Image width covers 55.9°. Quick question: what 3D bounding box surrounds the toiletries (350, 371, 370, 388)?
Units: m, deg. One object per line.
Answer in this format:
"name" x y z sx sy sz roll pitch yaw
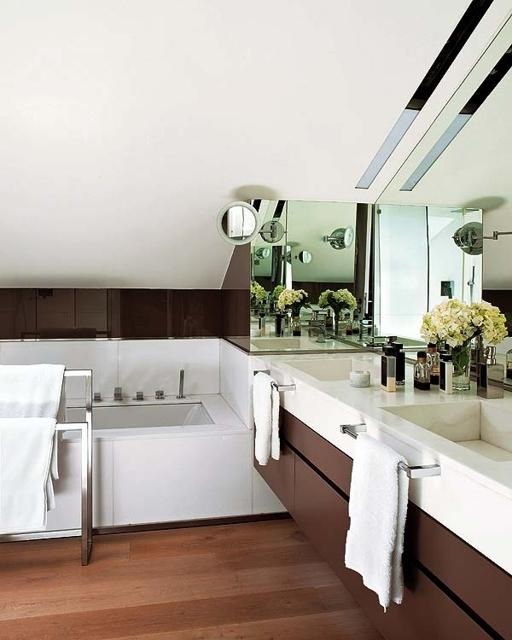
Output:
"toiletries" 0.387 0.213 1.775 0.053 0.047 0.059 0 -1 4

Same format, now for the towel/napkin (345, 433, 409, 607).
"towel/napkin" 0.296 0.479 1.186 0.096 0.358 0.271 0 0 -4

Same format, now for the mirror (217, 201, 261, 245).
"mirror" -0.091 -0.510 2.575 0.222 0.204 0.124 -1 1 -17

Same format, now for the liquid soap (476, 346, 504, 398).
"liquid soap" 0.756 0.171 1.595 0.073 0.153 0.165 0 0 3

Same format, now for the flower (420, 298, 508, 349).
"flower" 0.722 0.009 1.695 0.286 0.160 0.106 0 0 31

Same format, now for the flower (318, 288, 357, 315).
"flower" 0.475 -0.112 2.778 0.132 0.117 0.154 2 2 -8

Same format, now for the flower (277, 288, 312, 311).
"flower" 0.209 -0.118 2.794 0.122 0.153 0.128 0 6 15

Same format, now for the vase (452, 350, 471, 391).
"vase" 0.721 0.170 1.687 0.072 0.145 0.067 0 1 5

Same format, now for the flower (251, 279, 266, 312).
"flower" 0.007 -0.138 2.769 0.052 0.144 0.132 -6 22 13

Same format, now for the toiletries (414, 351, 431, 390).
"toiletries" 0.585 0.179 1.701 0.051 0.133 0.055 0 1 16

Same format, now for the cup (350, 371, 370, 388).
"cup" 0.389 0.214 1.788 0.052 0.047 0.059 0 -1 4

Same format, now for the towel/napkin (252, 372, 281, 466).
"towel/napkin" 0.053 0.455 2.247 0.087 0.516 0.432 1 -6 -9
